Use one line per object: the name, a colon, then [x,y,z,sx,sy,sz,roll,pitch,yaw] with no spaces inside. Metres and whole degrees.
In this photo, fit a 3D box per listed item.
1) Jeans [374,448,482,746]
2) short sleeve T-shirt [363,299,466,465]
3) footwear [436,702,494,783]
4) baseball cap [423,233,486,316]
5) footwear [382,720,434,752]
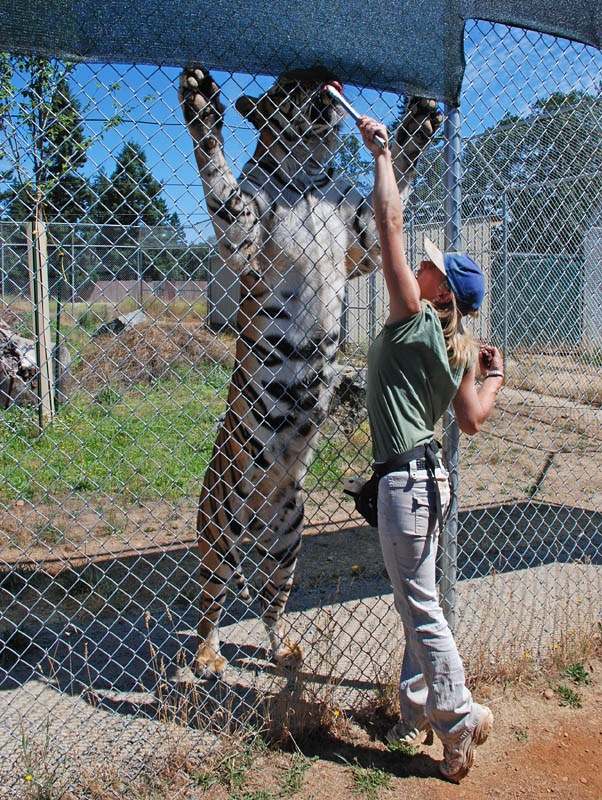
Jeans: [0.436,0.748,2.988,0.328,1.087,0.314,-1,7,-12]
short sleeve T-shirt: [0.393,-0.068,2.909,0.469,0.495,0.183,-16,19,-34]
footwear: [0.607,1.234,3.029,0.198,0.344,0.139,20,36,8]
baseball cap: [0.604,-0.490,3.061,0.171,0.197,0.322,-17,-21,10]
footwear: [0.413,1.298,3.243,0.122,0.080,0.245,18,-13,-12]
